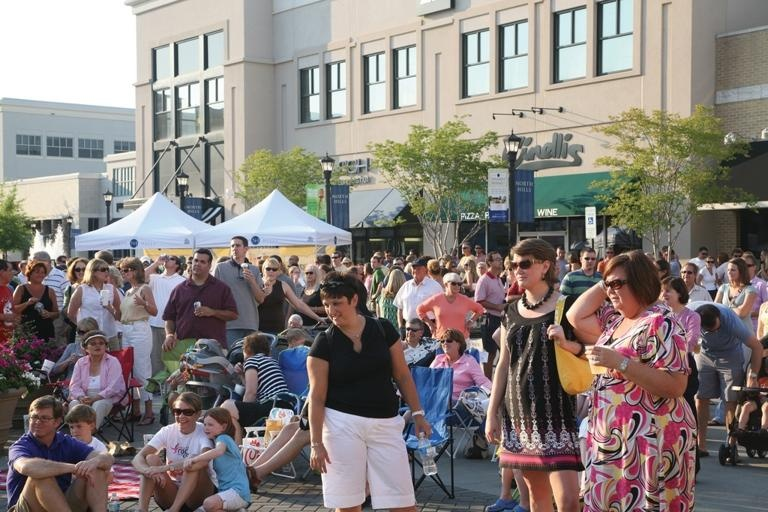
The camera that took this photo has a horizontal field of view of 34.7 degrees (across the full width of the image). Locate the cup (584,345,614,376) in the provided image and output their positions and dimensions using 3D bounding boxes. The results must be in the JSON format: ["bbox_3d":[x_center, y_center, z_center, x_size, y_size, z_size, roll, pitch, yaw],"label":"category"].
[{"bbox_3d":[3.177,1.547,18.201,0.337,0.394,0.448,-4,-2,-1],"label":"cup"}]

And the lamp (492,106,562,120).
[{"bbox_3d":[5.287,-5.143,44.807,0.298,0.401,3.216,-3,3,-42],"label":"lamp"}]

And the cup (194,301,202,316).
[{"bbox_3d":[-3.609,1.001,23.859,0.157,0.246,0.075,0,-1,-4],"label":"cup"}]

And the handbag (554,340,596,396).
[{"bbox_3d":[2.867,1.651,18.635,0.419,0.855,0.759,1,-4,-4],"label":"handbag"}]

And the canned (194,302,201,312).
[{"bbox_3d":[-3.611,0.974,23.814,0.158,0.216,0.159,-2,-2,-16],"label":"canned"}]

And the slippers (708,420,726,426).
[{"bbox_3d":[6.535,3.231,24.053,0.107,0.089,0.305,-4,-10,35],"label":"slippers"}]

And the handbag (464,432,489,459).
[{"bbox_3d":[1.712,3.468,22.545,0.349,0.471,0.489,0,-3,7],"label":"handbag"}]
